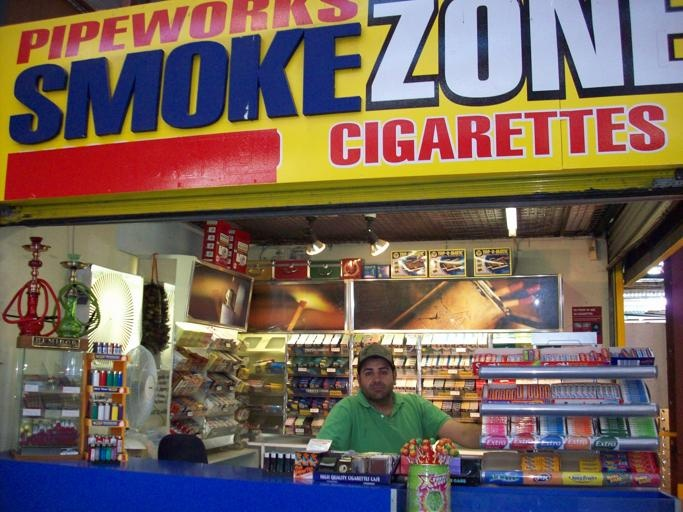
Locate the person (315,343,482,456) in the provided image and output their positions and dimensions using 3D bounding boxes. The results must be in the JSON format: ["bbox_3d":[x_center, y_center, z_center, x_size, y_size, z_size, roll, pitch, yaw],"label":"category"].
[{"bbox_3d":[0.323,1.092,4.248,1.299,0.894,0.700,0,-12,-18],"label":"person"}]

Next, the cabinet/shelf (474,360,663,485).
[{"bbox_3d":[1.383,1.016,3.668,0.854,0.795,0.522,-1,-8,21],"label":"cabinet/shelf"}]

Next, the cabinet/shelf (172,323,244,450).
[{"bbox_3d":[-1.773,1.681,7.799,0.578,1.610,0.860,-2,-2,25],"label":"cabinet/shelf"}]

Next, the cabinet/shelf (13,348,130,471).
[{"bbox_3d":[-2.015,1.104,4.603,0.804,0.793,0.344,7,-15,-18],"label":"cabinet/shelf"}]
